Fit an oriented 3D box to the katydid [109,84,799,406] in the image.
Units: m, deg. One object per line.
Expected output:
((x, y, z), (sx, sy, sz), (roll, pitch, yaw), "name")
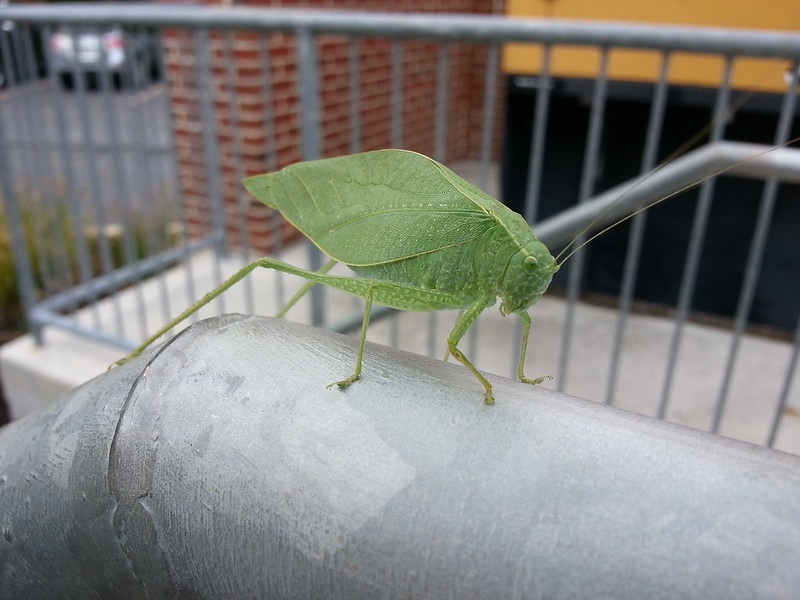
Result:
((0.058, -0.041, 0.789), (0.699, 0.308, 0.271), (7, 7, 18), "katydid")
